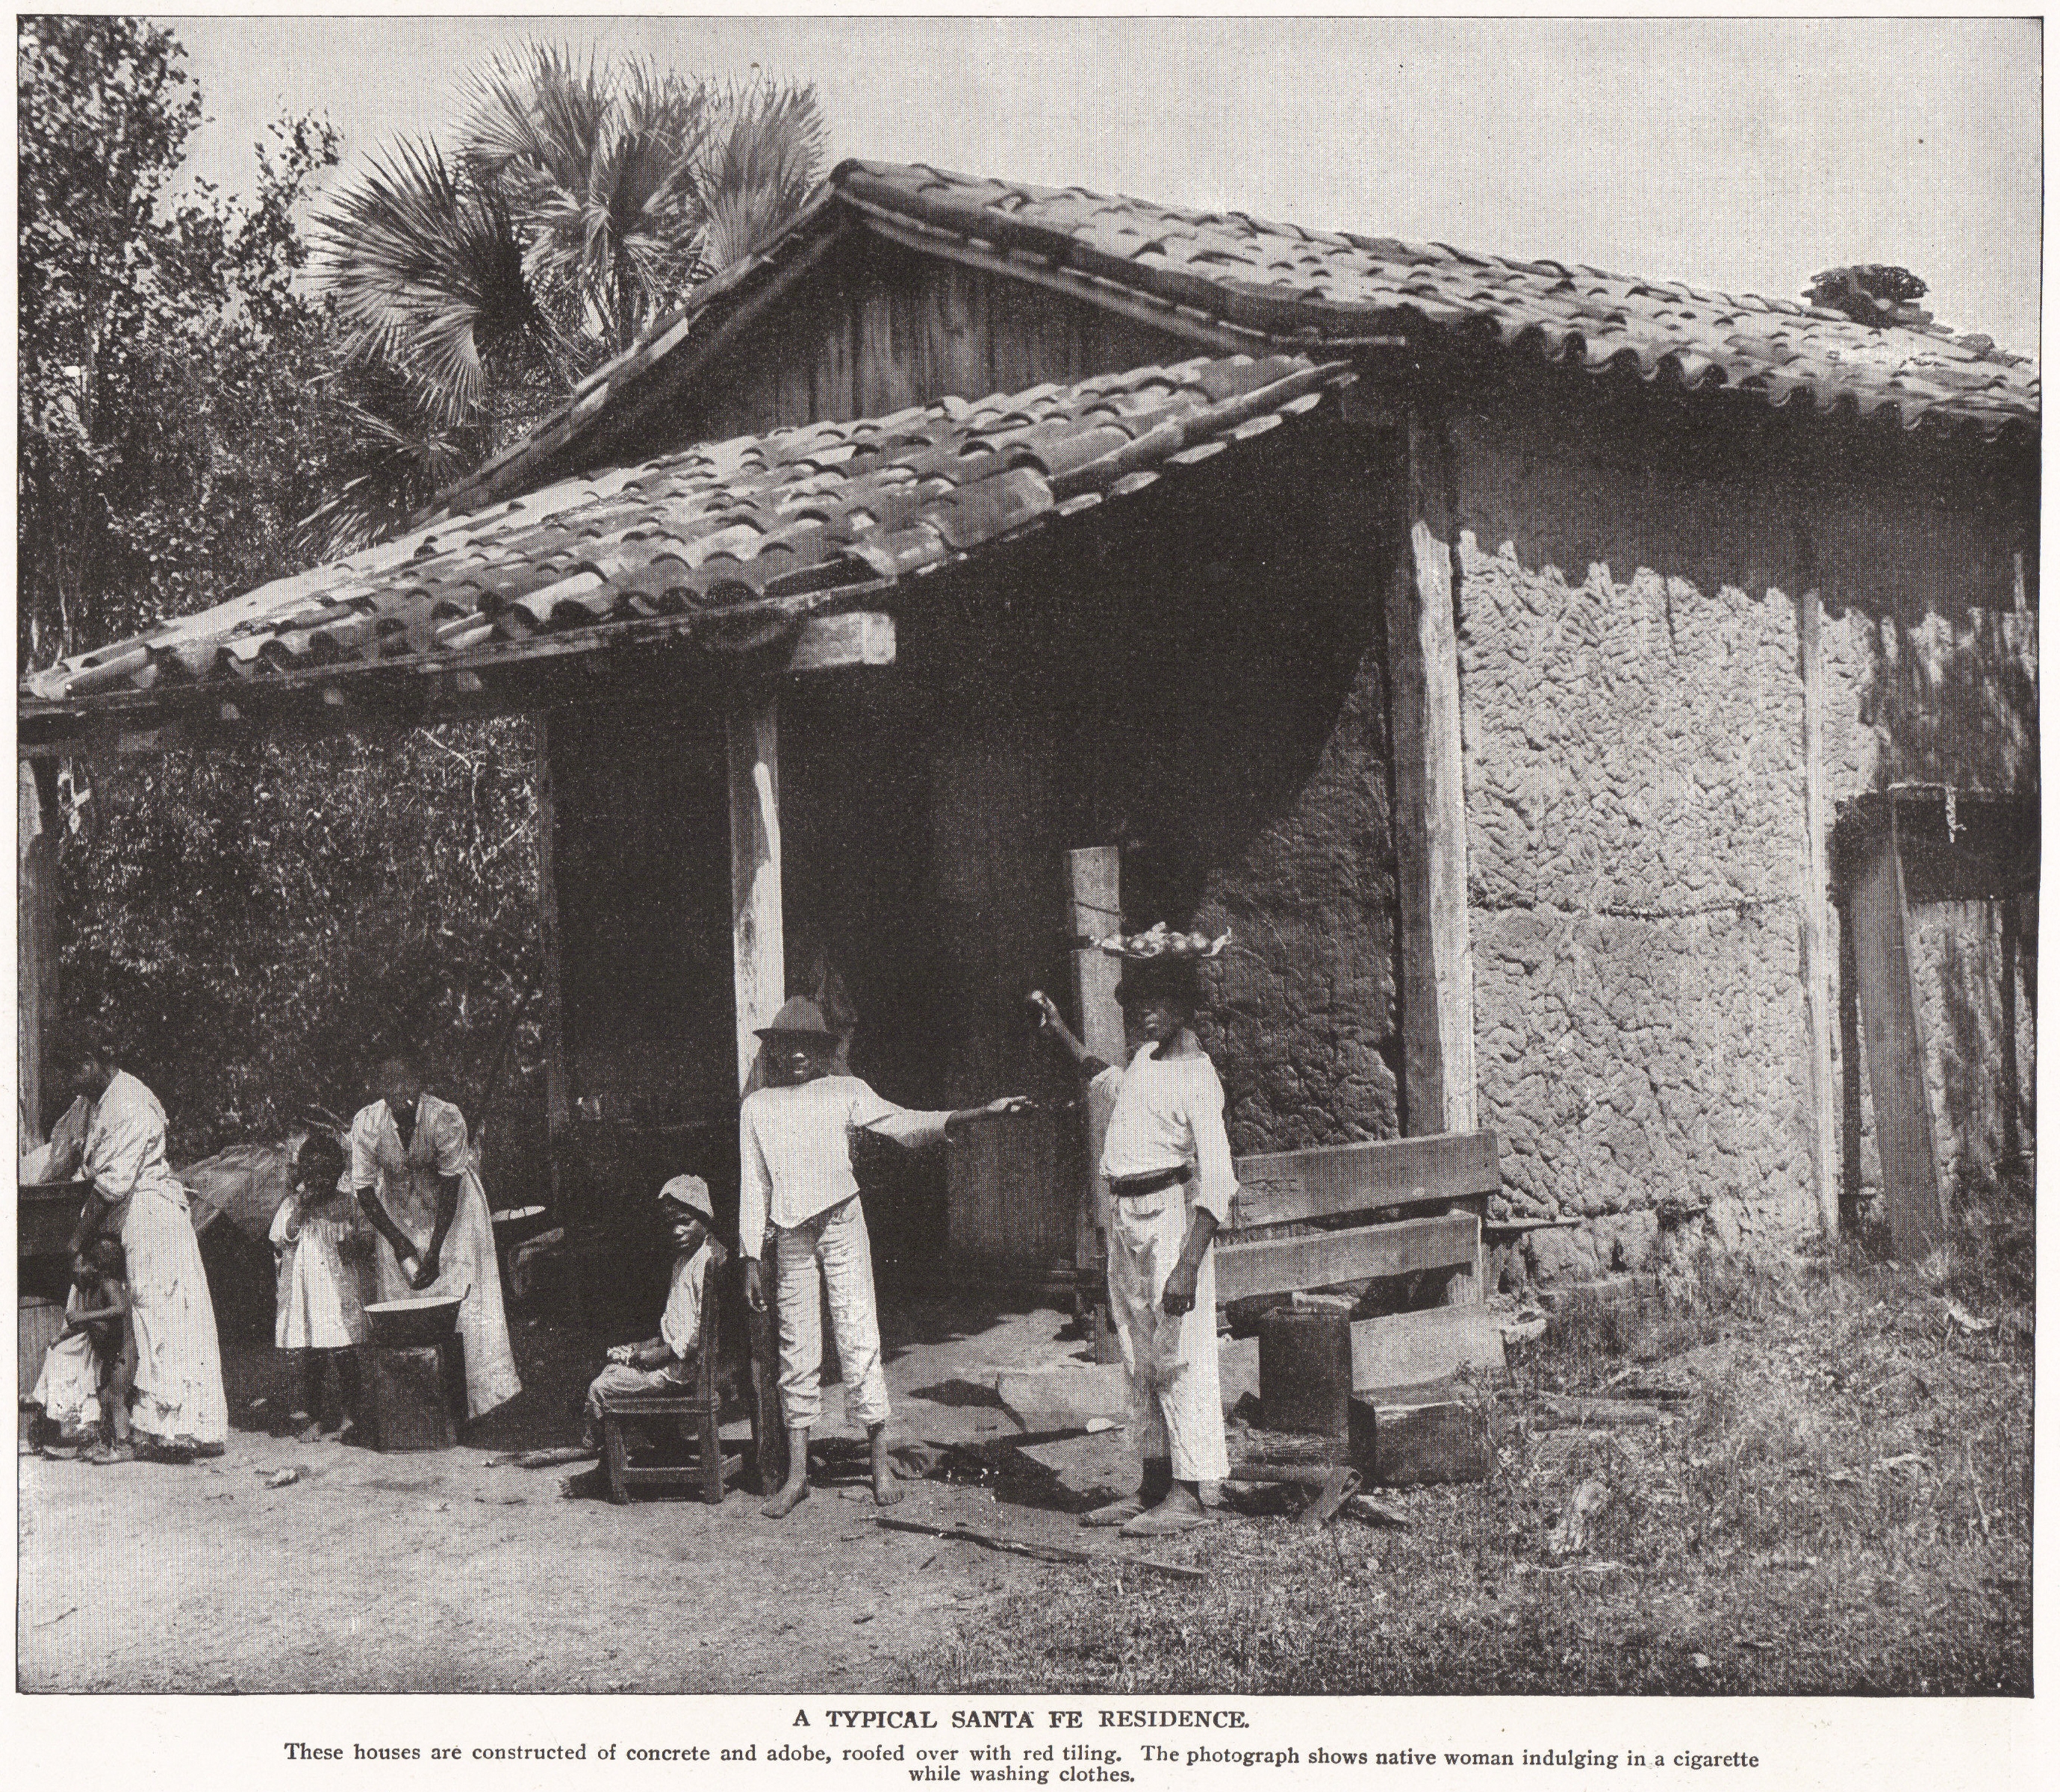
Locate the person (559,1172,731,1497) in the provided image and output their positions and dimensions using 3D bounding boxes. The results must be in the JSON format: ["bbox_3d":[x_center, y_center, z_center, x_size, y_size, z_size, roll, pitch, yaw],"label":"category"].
[{"bbox_3d":[-1.585,1.805,10.024,0.585,1.350,0.594,0,-4,0],"label":"person"}]

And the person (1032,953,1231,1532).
[{"bbox_3d":[0.501,1.286,9.445,0.580,1.665,0.379,-3,-2,28],"label":"person"}]

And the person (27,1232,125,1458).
[{"bbox_3d":[-4.216,1.962,10.779,0.414,0.932,0.189,-2,-1,-14],"label":"person"}]

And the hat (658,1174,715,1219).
[{"bbox_3d":[-1.388,1.236,9.974,0.235,0.107,0.181,31,-1,-37],"label":"hat"}]

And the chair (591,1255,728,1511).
[{"bbox_3d":[-1.528,1.862,9.979,0.575,1.111,0.496,-3,-2,-2],"label":"chair"}]

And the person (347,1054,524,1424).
[{"bbox_3d":[-2.707,1.538,11.015,0.679,1.641,0.429,-4,-2,31],"label":"person"}]
